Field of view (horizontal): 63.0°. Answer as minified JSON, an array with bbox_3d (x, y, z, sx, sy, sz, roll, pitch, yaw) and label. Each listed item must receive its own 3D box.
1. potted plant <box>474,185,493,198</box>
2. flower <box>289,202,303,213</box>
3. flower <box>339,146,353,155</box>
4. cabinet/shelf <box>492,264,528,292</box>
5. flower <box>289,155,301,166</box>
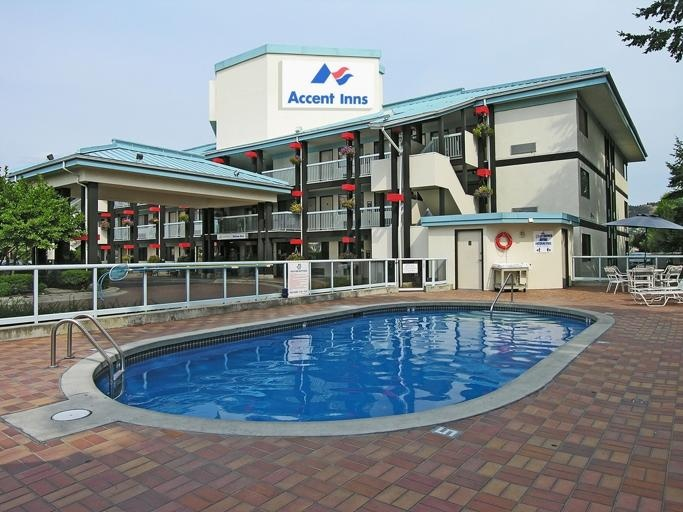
[{"bbox_3d":[6.731,-3.013,26.554,0.764,0.452,0.722,-1,0,28],"label":"potted plant"},{"bbox_3d":[-2.601,-2.731,31.532,0.658,0.373,0.572,2,1,-2],"label":"flower"},{"bbox_3d":[0.211,-5.739,30.257,0.629,0.268,0.558,-1,-1,-18],"label":"flower"},{"bbox_3d":[6.760,0.827,22.091,1.707,1.217,1.504,0,1,8],"label":"cabinet/shelf"},{"bbox_3d":[-2.652,-5.489,32.124,0.669,0.509,0.433,-1,-1,7],"label":"flower"}]
